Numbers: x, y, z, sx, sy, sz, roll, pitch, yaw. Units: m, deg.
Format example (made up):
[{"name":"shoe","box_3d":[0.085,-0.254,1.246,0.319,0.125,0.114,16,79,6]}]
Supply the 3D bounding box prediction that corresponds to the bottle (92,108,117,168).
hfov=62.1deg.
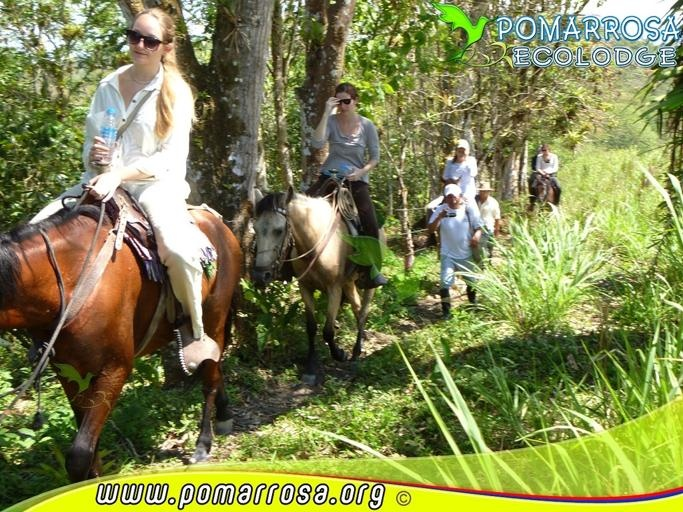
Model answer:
[{"name":"bottle","box_3d":[-1.855,-0.954,4.512,0.133,0.432,0.356,-3,21,-21]}]

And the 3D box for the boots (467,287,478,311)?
[{"name":"boots","box_3d":[2.183,0.713,9.356,0.168,0.449,0.258,-4,24,4]}]

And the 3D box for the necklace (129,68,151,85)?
[{"name":"necklace","box_3d":[-1.651,-1.466,4.656,0.149,0.076,0.131,1,10,-22]}]

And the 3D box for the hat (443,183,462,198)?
[{"name":"hat","box_3d":[1.909,-1.100,9.569,0.277,0.200,0.353,7,18,9]}]

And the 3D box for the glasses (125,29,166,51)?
[{"name":"glasses","box_3d":[-1.616,-1.737,4.565,0.325,0.149,0.119,7,20,12]}]

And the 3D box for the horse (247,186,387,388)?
[{"name":"horse","box_3d":[-0.374,0.316,7.757,1.235,2.578,2.077,16,23,26]}]
